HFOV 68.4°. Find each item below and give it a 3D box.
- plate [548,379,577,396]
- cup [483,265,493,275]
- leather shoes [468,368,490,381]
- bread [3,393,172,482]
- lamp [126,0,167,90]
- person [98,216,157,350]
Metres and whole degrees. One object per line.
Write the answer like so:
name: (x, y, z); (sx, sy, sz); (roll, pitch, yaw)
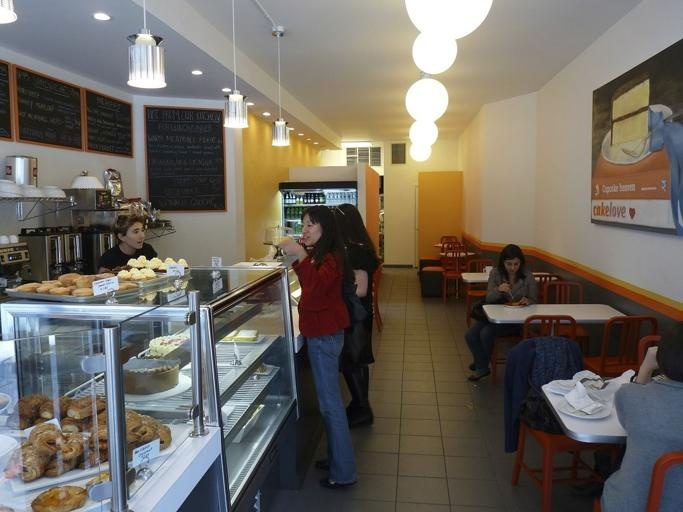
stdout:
plate: (1.179, 0.699, 2.700); (0.095, 0.034, 0.080); (-2, 5, 11)
cup: (1.785, 0.163, 6.125); (0.097, 0.104, 0.187); (-1, -6, 16)
leather shoes: (1.325, 1.117, 4.800); (0.247, 0.070, 0.090); (-5, 2, -31)
bread: (-0.842, 0.557, 1.590); (0.297, 0.093, 0.269); (3, 4, 4)
lamp: (-1.213, -1.231, 3.090); (0.207, 0.372, 0.251); (-4, 8, -21)
person: (-1.647, 0.156, 3.863); (0.419, 0.750, 0.838); (1, 12, 0)
